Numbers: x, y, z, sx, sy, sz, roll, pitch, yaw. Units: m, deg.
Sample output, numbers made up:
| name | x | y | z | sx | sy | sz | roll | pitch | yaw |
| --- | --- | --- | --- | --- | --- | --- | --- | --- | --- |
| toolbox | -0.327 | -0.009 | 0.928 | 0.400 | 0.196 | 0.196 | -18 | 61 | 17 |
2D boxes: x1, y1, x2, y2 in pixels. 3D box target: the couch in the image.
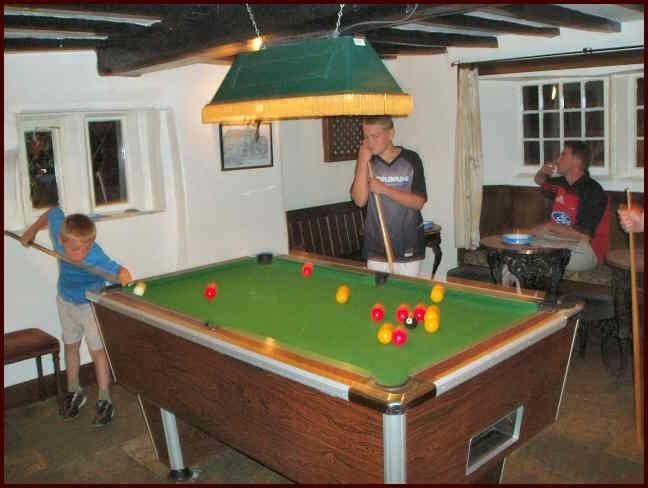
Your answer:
| name | x | y | z | sx | sy | sz | roll | pitch | yaw |
| --- | --- | --- | --- | --- | --- | --- | --- | --- | --- |
| couch | 2.945 | -0.129 | 6.849 | 1.284 | 1.168 | 2.165 | -8 | 17 | -40 |

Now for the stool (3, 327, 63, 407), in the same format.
| name | x | y | z | sx | sy | sz | roll | pitch | yaw |
| --- | --- | --- | --- | --- | --- | --- | --- | --- | --- |
| stool | -2.313 | 0.929 | 4.277 | 0.461 | 0.588 | 0.434 | -7 | 8 | -35 |

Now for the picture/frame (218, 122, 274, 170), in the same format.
| name | x | y | z | sx | sy | sz | roll | pitch | yaw |
| --- | --- | --- | --- | --- | --- | --- | --- | --- | --- |
| picture/frame | -0.827 | -1.065 | 5.735 | 0.119 | 0.516 | 0.705 | 5 | 10 | 39 |

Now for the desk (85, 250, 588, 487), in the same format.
| name | x | y | z | sx | sy | sz | roll | pitch | yaw |
| --- | --- | --- | --- | --- | --- | --- | --- | --- | --- |
| desk | 0.038 | 0.682 | 3.052 | 2.407 | 0.770 | 1.328 | 3 | 9 | 35 |

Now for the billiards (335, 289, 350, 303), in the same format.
| name | x | y | z | sx | sy | sz | roll | pitch | yaw |
| --- | --- | --- | --- | --- | --- | --- | --- | --- | --- |
| billiards | 0.118 | 0.306 | 3.181 | 0.076 | 0.073 | 0.090 | 18 | 17 | 10 |

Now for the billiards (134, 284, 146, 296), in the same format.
| name | x | y | z | sx | sy | sz | roll | pitch | yaw |
| --- | --- | --- | --- | --- | --- | --- | --- | --- | --- |
| billiards | -1.206 | 0.300 | 3.434 | 0.062 | 0.059 | 0.077 | 20 | -11 | -8 |

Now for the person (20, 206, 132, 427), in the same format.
| name | x | y | z | sx | sy | sz | roll | pitch | yaw |
| --- | --- | --- | --- | --- | --- | --- | --- | --- | --- |
| person | -1.831 | 0.623 | 4.116 | 1.147 | 1.758 | 0.588 | 13 | 16 | 40 |

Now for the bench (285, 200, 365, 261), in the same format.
| name | x | y | z | sx | sy | sz | roll | pitch | yaw |
| --- | --- | --- | --- | --- | --- | --- | --- | --- | --- |
| bench | 0.056 | -0.175 | 6.510 | 0.484 | 0.666 | 1.273 | 16 | 20 | 42 |

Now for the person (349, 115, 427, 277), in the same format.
| name | x | y | z | sx | sy | sz | roll | pitch | yaw |
| --- | --- | --- | --- | --- | --- | --- | --- | --- | --- |
| person | 0.492 | -0.373 | 4.128 | 0.519 | 1.399 | 0.491 | 1 | 3 | 26 |
